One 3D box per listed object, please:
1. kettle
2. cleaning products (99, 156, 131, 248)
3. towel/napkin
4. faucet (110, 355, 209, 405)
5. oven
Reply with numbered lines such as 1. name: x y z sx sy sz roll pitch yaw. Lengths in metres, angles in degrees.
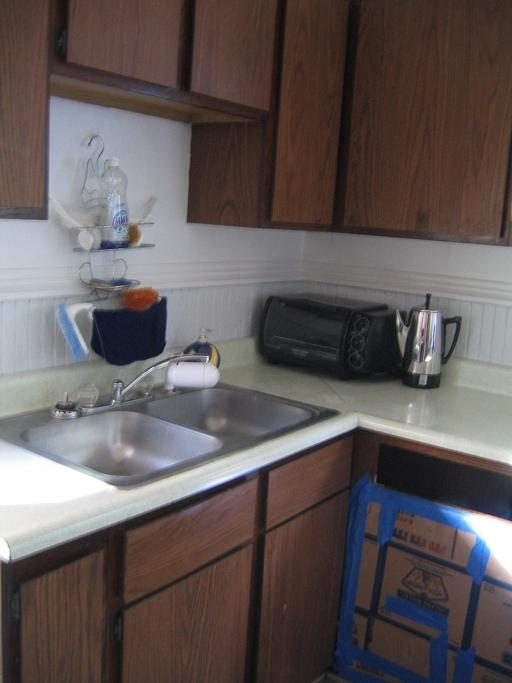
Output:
1. kettle: 0.584 -0.004 1.885 0.296 0.308 0.155 -7 14 -38
2. cleaning products: -0.376 -0.366 1.496 0.072 0.218 0.192 0 11 -13
3. towel/napkin: -0.348 -0.040 1.560 0.214 0.163 0.125 -12 21 -37
4. faucet: -0.251 0.099 1.526 0.285 0.132 0.086 -3 0 5
5. oven: 0.228 -0.012 1.967 0.390 0.247 0.223 11 9 33
